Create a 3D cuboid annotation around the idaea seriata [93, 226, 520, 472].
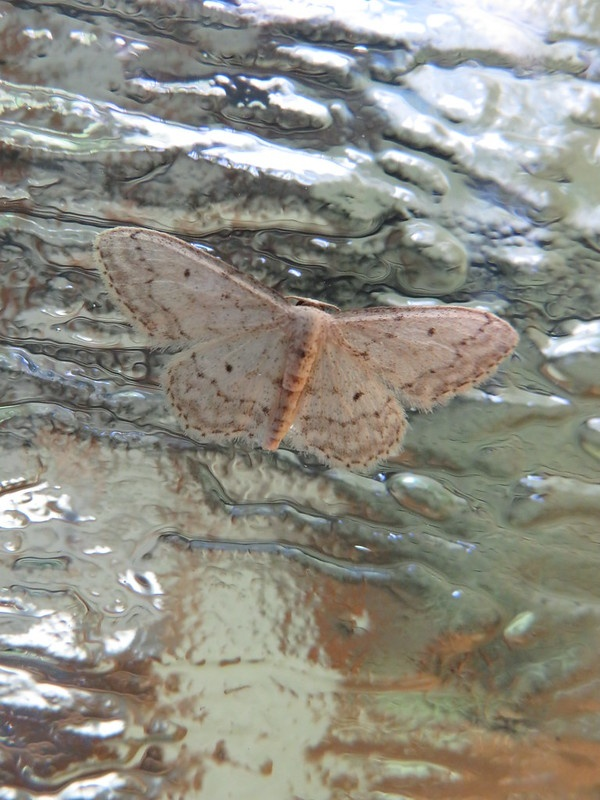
[{"bbox_3d":[0.002,-0.077,1.562,0.760,0.465,0.060,4,25,4],"label":"idaea seriata"}]
